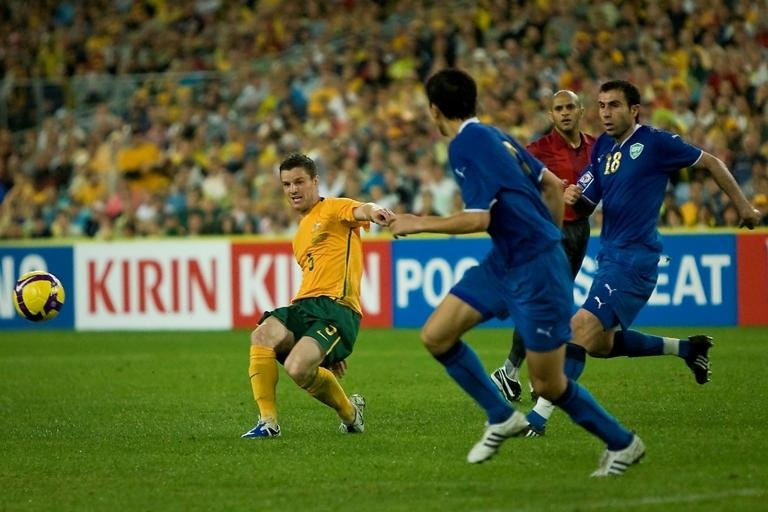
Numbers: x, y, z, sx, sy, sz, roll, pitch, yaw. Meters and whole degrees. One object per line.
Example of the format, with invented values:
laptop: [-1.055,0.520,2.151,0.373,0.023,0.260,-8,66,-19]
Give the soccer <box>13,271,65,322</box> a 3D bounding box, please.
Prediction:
soccer: [-3.666,0.468,11.121,0.549,0.587,0.562,-6,0,-29]

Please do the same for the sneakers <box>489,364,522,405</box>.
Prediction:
sneakers: [1.260,1.314,10.865,0.226,0.516,0.177,-30,7,7]

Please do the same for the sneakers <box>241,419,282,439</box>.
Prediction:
sneakers: [-1.166,1.652,9.864,0.373,0.170,0.155,1,-3,-5]

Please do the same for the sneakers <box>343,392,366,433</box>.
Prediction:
sneakers: [-0.312,1.525,10.126,0.135,0.427,0.189,-17,-29,19]
